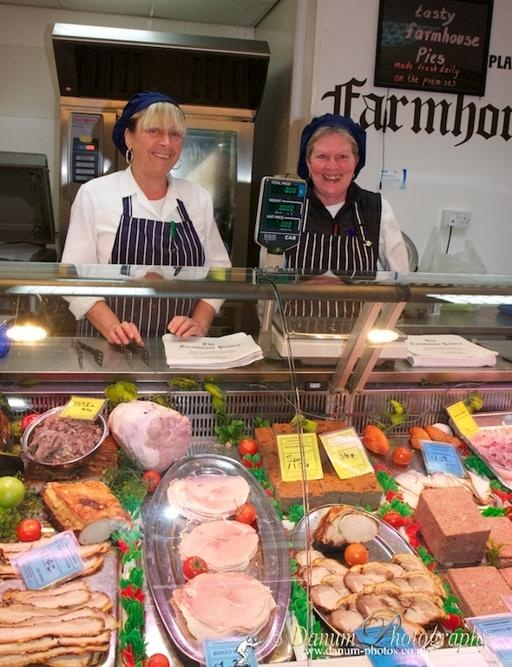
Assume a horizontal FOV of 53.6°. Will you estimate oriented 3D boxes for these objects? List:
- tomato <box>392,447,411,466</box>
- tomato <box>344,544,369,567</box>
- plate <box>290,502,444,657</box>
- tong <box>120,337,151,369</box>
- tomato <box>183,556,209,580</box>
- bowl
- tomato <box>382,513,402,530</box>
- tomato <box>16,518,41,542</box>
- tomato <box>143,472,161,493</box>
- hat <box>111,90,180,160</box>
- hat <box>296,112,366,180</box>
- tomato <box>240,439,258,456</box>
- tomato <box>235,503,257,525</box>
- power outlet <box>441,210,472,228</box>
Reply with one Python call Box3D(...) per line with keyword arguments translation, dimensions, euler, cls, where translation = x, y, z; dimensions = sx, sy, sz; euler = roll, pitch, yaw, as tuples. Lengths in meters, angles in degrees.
Box3D(translation=(0.413, 0.350, 1.449), dimensions=(0.054, 0.048, 0.048), euler=(9, 45, 6), cls="tomato")
Box3D(translation=(0.210, 0.461, 1.077), dimensions=(0.038, 0.036, 0.037), euler=(-35, 16, -32), cls="tomato")
Box3D(translation=(0.228, 0.479, 1.050), dimensions=(0.309, 0.076, 0.317), euler=(1, 20, -2), cls="plate")
Box3D(translation=(-0.323, 0.051, 1.387), dimensions=(0.052, 0.028, 0.089), euler=(-3, 33, -25), cls="tong")
Box3D(translation=(-0.114, 0.443, 0.965), dimensions=(0.036, 0.032, 0.034), euler=(0, 24, -19), cls="tomato")
Box3D(translation=(-0.450, 0.247, 1.185), dimensions=(0.174, 0.064, 0.194), euler=(4, 20, 5), cls="bowl")
Box3D(translation=(0.326, 0.441, 1.203), dimensions=(0.037, 0.033, 0.035), euler=(0, 11, 37), cls="tomato")
Box3D(translation=(-0.448, 0.387, 1.002), dimensions=(0.043, 0.023, 0.043), euler=(-6, 22, -20), cls="tomato")
Box3D(translation=(-0.239, 0.336, 1.152), dimensions=(0.038, 0.034, 0.042), euler=(-12, -12, 5), cls="tomato")
Box3D(translation=(-0.481, -0.852, 2.082), dimensions=(0.319, 0.240, 0.142), euler=(20, 27, 40), cls="hat")
Box3D(translation=(0.338, -0.853, 2.337), dimensions=(0.317, 0.288, 0.214), euler=(6, 21, 10), cls="hat")
Box3D(translation=(-0.019, 0.297, 1.342), dimensions=(0.042, 0.036, 0.039), euler=(-1, 2, 7), cls="tomato")
Box3D(translation=(-0.023, 0.386, 1.098), dimensions=(0.035, 0.033, 0.034), euler=(-15, 6, 22), cls="tomato")
Box3D(translation=(1.345, -0.763, 3.419), dimensions=(0.222, 0.132, 0.114), euler=(0, 12, 0), cls="power outlet")
